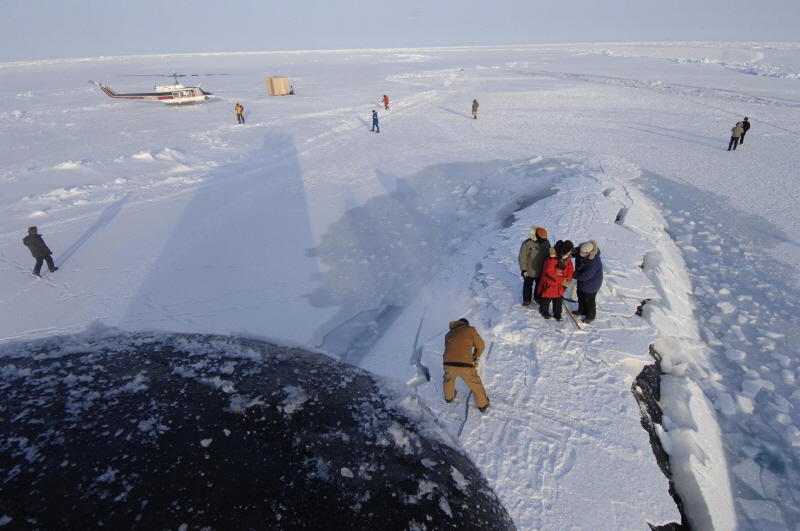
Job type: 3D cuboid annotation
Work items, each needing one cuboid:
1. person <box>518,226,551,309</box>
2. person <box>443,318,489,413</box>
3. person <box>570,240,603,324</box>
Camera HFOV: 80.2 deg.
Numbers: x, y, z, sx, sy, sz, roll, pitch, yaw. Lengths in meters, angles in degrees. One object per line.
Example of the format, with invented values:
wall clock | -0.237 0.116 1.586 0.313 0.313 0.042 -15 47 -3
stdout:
person | 3.313 0.053 11.559 0.929 1.879 0.577 -6 11 -18
person | 1.399 2.234 10.297 0.952 1.875 1.274 -13 39 -13
person | 4.454 0.469 11.329 0.949 2.262 0.816 -2 46 13
